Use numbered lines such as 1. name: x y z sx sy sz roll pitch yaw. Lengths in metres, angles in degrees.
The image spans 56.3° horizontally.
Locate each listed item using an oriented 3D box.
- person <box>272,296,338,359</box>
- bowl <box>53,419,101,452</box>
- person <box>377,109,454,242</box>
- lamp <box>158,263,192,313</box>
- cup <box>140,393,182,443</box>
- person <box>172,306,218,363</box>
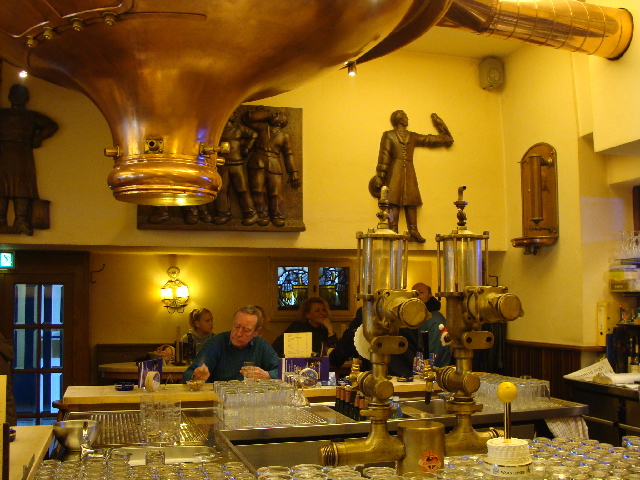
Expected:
1. person: -0.207 1.009 6.920 0.655 0.787 0.425 7 -15 -27
2. bowl: -1.035 0.842 2.556 0.181 0.098 0.178 -3 -7 0
3. person: 0.997 -0.715 6.609 0.916 1.489 0.240 2 -9 -21
4. lamp: -2.099 0.703 8.642 0.400 0.686 0.102 1 -9 -20
5. cup: -0.734 0.838 2.761 0.177 0.166 0.353 1 -9 -16
6. person: -1.509 1.167 6.974 0.262 0.683 0.256 6 -18 17
